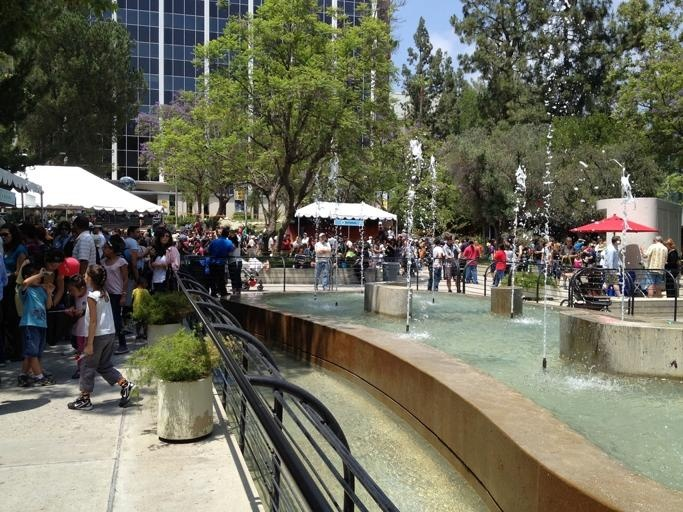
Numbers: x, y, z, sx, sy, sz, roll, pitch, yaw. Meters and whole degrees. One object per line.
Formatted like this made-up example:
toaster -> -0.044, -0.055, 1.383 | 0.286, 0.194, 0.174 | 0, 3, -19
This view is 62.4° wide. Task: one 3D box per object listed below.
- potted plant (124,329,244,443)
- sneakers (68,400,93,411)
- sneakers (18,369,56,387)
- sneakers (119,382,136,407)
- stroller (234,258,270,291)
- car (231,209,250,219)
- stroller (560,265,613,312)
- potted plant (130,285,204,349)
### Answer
potted plant -> -1.884, 1.466, 6.790 | 0.947, 1.299, 0.820 | 1, -5, -21
sneakers -> -3.453, 1.954, 7.492 | 0.331, 0.132, 0.205 | 0, -2, -11
sneakers -> -4.566, 1.790, 8.456 | 0.596, 0.312, 0.237 | 2, -1, -10
sneakers -> -2.865, 1.863, 7.612 | 0.156, 0.393, 0.126 | 14, 23, -10
stroller -> -3.573, 0.584, 23.074 | 1.361, 1.095, 0.982 | -3, 7, 17
car -> -13.589, -5.718, 77.212 | 2.706, 1.213, 3.065 | 1, 8, 10
stroller -> 7.379, 1.057, 16.684 | 0.855, 1.470, 1.338 | 0, 2, 18
potted plant -> -3.120, 0.815, 10.303 | 1.083, 1.361, 1.386 | -1, 30, -14
